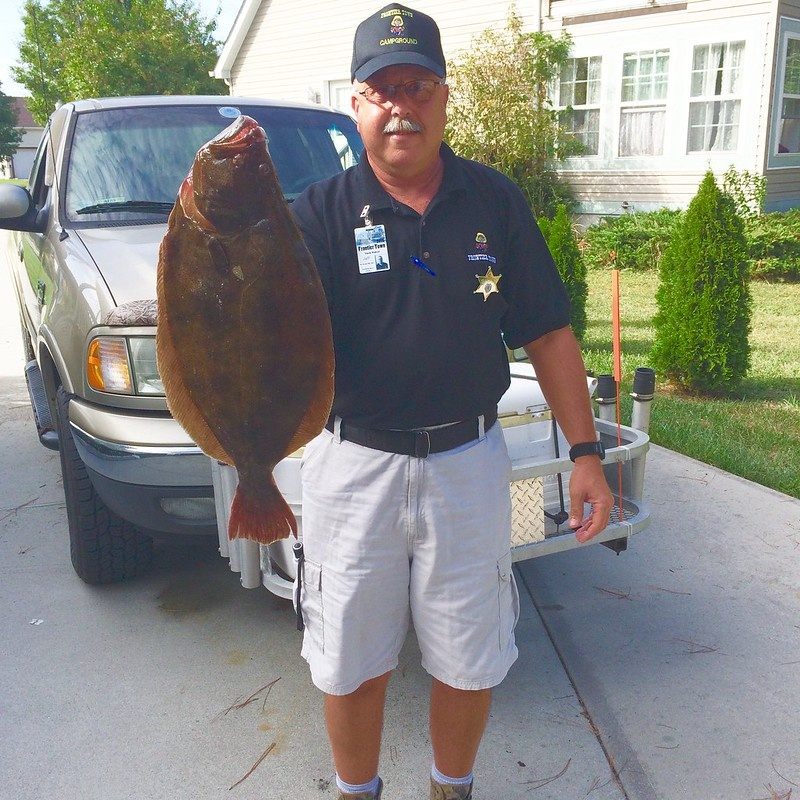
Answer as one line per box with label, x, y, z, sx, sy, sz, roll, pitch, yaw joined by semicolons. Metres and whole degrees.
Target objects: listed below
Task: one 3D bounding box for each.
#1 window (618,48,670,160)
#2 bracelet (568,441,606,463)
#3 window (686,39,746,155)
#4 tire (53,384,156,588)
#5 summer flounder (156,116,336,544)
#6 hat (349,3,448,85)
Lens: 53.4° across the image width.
window;4.326;-5.198;14.001;0.128;1.785;0.787;-19;24;-34
bracelet;0.500;0.131;2.134;0.060;0.035;0.066;-15;0;0
window;5.275;-5.060;13.310;0.875;2.053;0.094;1;-10;11
tire;-1.159;0.339;3.152;0.203;0.717;0.675;-4;-17;-10
summer flounder;-0.301;-0.099;1.557;0.333;0.836;0.125;-5;15;-15
hat;-0.005;-0.869;1.926;0.230;0.188;0.164;-2;15;-4
